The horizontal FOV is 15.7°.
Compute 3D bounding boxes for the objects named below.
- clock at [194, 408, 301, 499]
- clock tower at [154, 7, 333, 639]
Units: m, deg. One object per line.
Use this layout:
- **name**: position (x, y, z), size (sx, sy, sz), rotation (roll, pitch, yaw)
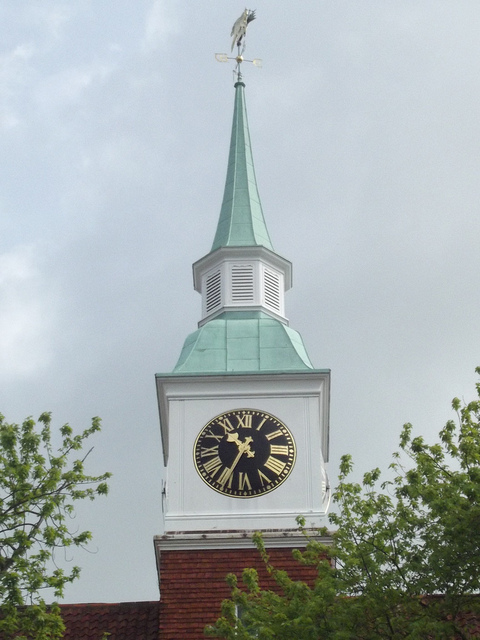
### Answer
- **clock**: position (0.057, 3.184, 42.552), size (1.802, 2.129, 1.530), rotation (-9, -19, 0)
- **clock tower**: position (-0.080, 1.733, 44.183), size (4.250, 13.041, 8.501), rotation (-5, -14, 2)
